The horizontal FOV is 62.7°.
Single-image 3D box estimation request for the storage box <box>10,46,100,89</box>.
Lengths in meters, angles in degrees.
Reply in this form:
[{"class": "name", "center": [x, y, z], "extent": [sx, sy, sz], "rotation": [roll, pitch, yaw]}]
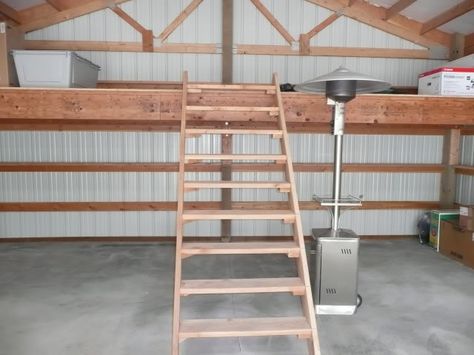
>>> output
[{"class": "storage box", "center": [-2.832, -1.622, 6.098], "extent": [0.918, 0.718, 0.820], "rotation": [-6, -18, 1]}]
